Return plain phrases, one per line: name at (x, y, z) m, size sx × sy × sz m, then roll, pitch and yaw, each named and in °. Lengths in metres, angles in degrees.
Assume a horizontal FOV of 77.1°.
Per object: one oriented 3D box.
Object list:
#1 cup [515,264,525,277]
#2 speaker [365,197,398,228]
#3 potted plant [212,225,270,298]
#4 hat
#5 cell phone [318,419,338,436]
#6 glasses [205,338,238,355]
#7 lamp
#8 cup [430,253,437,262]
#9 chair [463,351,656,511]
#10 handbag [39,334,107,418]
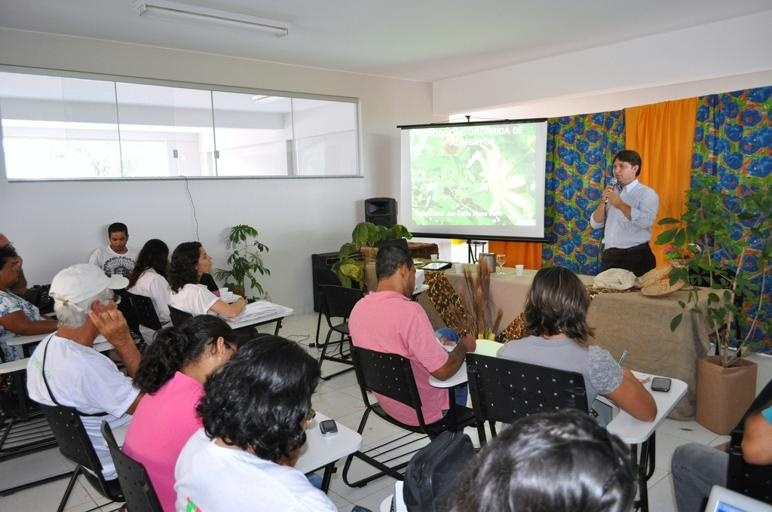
cup at (1.375, 0.151, 4.920) m, size 0.120 × 0.129 × 0.119 m, roll -2°, pitch 2°, yaw 0°
speaker at (-0.051, -0.624, 7.352) m, size 0.430 × 0.448 × 0.581 m, roll 1°, pitch -4°, yaw 9°
potted plant at (-1.881, 0.066, 6.155) m, size 0.562 × 1.085 × 0.786 m, roll 11°, pitch 16°, yaw 43°
hat at (-1.691, 0.144, 2.758) m, size 0.282 × 0.198 × 0.427 m, roll -4°, pitch 9°, yaw 29°
cell phone at (-0.289, 0.851, 2.401) m, size 0.065 × 0.016 × 0.068 m, roll -3°, pitch 30°, yaw -9°
glasses at (-0.767, 0.418, 2.229) m, size 0.082 × 0.058 × 0.106 m, roll -3°, pitch 4°, yaw 4°
lamp at (-1.657, -2.173, 4.612) m, size 1.194 × 0.082 × 0.189 m, roll -1°, pitch -15°, yaw -40°
cup at (0.719, 0.026, 7.227) m, size 0.114 × 0.100 × 0.115 m, roll -1°, pitch 5°, yaw 0°
chair at (0.924, 0.748, 2.648) m, size 0.619 × 0.911 × 0.655 m, roll 7°, pitch 16°, yaw 41°
handbag at (-1.701, 0.647, 2.667) m, size 0.400 × 0.102 × 0.381 m, roll 29°, pitch 11°, yaw 2°
